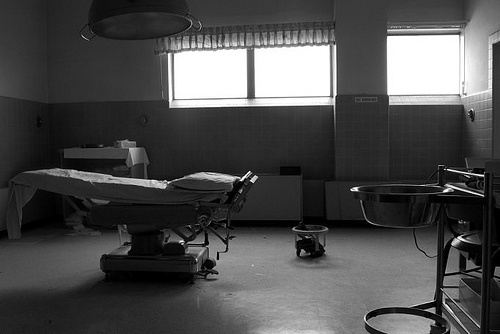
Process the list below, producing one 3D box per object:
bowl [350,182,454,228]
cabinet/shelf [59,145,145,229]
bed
[{"bbox_3d":[1.295,0.323,3.639,0.855,0.294,0.856,-1,3,0],"label":"bowl"},{"bbox_3d":[-2.575,0.087,7.481,1.244,0.873,0.931,1,6,-1],"label":"cabinet/shelf"},{"bbox_3d":[-1.299,0.665,5.254,2.789,1.337,0.818,-2,5,3],"label":"bed"}]
